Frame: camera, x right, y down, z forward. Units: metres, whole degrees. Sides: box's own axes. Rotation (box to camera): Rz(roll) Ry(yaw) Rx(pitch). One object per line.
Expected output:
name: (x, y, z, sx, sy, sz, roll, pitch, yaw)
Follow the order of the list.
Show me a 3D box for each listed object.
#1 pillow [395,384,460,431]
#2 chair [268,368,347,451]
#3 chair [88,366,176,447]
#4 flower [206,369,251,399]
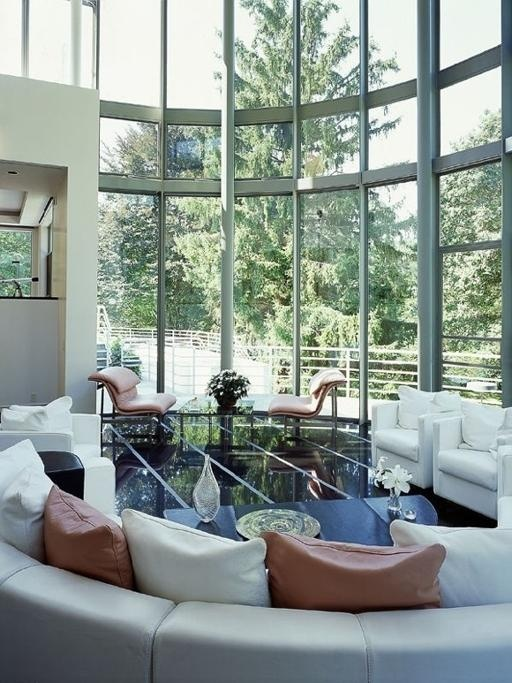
pillow: (1.391, 0.655, 4.903, 0.218, 0.343, 0.423, 13, -34, -19)
chair: (0.560, 0.664, 6.674, 0.920, 0.743, 0.870, -1, 7, -9)
chair: (-1.382, 0.641, 6.765, 0.981, 0.704, 0.932, 1, 6, -11)
flower: (-0.303, 0.468, 6.460, 0.331, 0.255, 0.358, 1, -3, 1)
